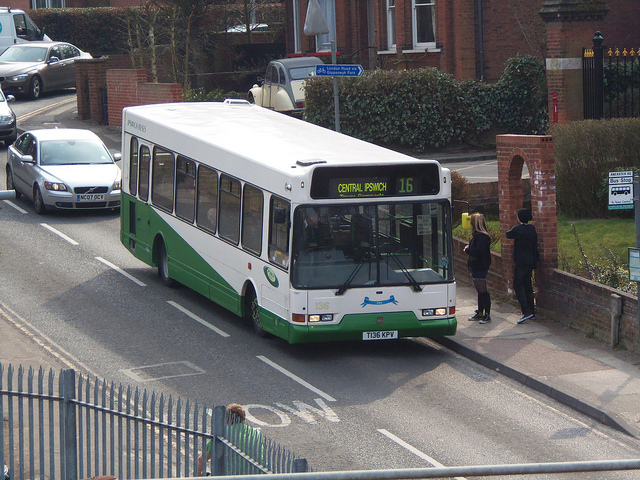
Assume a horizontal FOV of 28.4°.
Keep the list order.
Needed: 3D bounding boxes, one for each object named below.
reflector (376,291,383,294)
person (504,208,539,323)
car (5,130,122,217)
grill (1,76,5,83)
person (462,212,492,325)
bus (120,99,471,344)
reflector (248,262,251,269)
[{"bbox_3d":[1.132,0.972,24.073,0.109,0.039,0.035,-9,17,-26],"label":"reflector"},{"bbox_3d":[4.194,0.433,26.073,0.640,2.326,0.950,0,12,10],"label":"person"},{"bbox_3d":[-6.857,-1.755,33.596,3.344,1.879,2.149,6,16,30],"label":"car"},{"bbox_3d":[-11.701,-5.846,46.511,0.102,0.252,0.216,1,14,15],"label":"grill"},{"bbox_3d":[3.266,0.531,25.960,0.528,2.240,0.539,0,12,7],"label":"person"},{"bbox_3d":[-1.376,-0.408,28.312,3.763,4.250,10.529,-3,12,-28],"label":"bus"},{"bbox_3d":[-1.399,0.484,25.133,0.014,0.165,0.103,-4,9,-28],"label":"reflector"}]
